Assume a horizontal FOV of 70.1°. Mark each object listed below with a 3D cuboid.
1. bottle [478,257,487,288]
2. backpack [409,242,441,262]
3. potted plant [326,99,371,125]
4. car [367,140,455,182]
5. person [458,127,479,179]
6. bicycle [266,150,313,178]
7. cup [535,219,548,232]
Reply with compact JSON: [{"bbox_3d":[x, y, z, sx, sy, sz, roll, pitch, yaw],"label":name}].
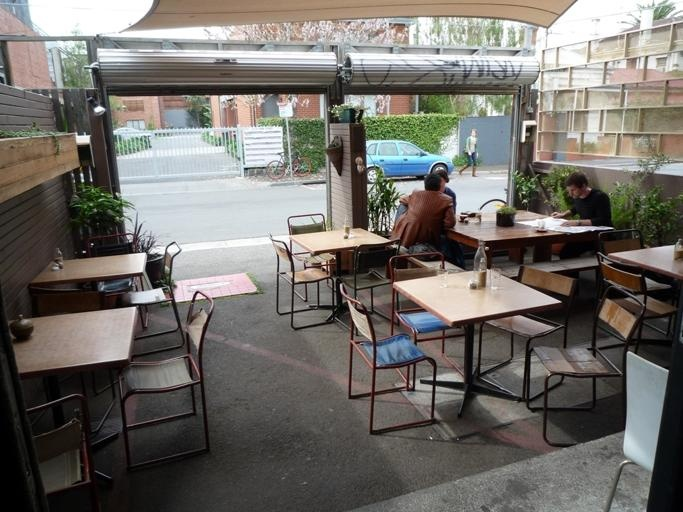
[{"bbox_3d":[1.375,0.142,4.713,0.085,0.282,0.188,2,17,16],"label":"bottle"},{"bbox_3d":[1.217,-0.071,6.846,0.318,0.130,0.365,0,8,-22],"label":"backpack"},{"bbox_3d":[0.139,-2.330,7.937,0.673,0.349,0.716,-6,19,-16],"label":"potted plant"},{"bbox_3d":[1.711,-2.503,13.007,3.089,0.972,1.187,-4,21,-8],"label":"car"},{"bbox_3d":[3.640,-2.885,13.833,0.511,1.385,1.869,1,15,14],"label":"person"},{"bbox_3d":[-1.672,-3.104,16.430,1.585,0.801,0.712,-3,26,-1],"label":"bicycle"},{"bbox_3d":[2.833,-0.463,6.852,0.214,0.089,0.196,-3,15,1],"label":"cup"}]
